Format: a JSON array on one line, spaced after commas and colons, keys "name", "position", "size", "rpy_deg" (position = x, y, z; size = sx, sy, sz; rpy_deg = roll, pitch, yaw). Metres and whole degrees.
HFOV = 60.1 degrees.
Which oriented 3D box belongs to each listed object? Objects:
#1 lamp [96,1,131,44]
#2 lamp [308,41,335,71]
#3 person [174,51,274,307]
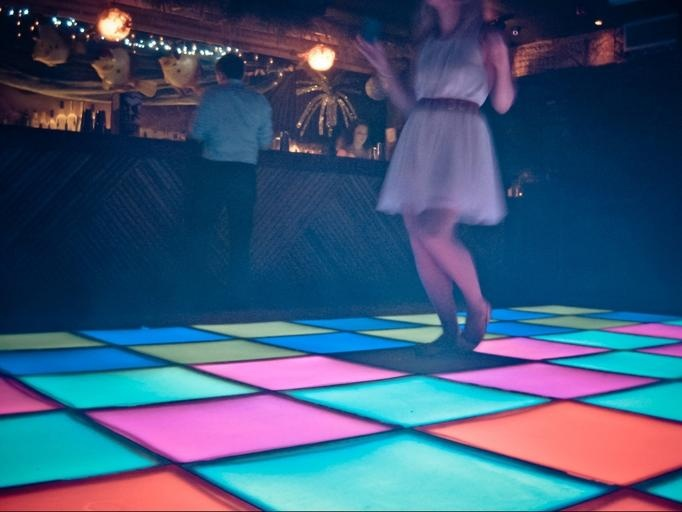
[{"name": "lamp", "position": [-2.217, -2.282, 5.746], "size": [0.327, 0.310, 0.443], "rpy_deg": [0, 4, -20]}, {"name": "lamp", "position": [-0.240, -2.216, 6.479], "size": [0.267, 0.311, 0.368], "rpy_deg": [0, 4, -23]}, {"name": "person", "position": [-0.605, -0.423, 3.172], "size": [0.350, 1.382, 0.463], "rpy_deg": [2, 4, 12]}]
